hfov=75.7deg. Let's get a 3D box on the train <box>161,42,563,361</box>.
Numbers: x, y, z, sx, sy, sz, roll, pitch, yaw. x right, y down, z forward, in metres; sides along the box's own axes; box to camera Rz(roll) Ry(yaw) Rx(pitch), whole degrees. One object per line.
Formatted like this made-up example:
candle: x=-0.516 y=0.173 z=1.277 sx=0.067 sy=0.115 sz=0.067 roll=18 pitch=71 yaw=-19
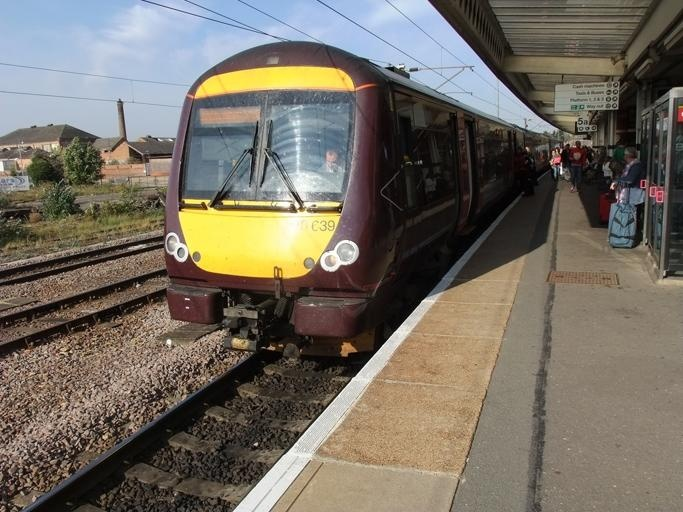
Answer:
train: x=1.316 y=-1.615 z=9.576 sx=2.086 sy=3.211 sz=11.212 roll=3 pitch=13 yaw=22
